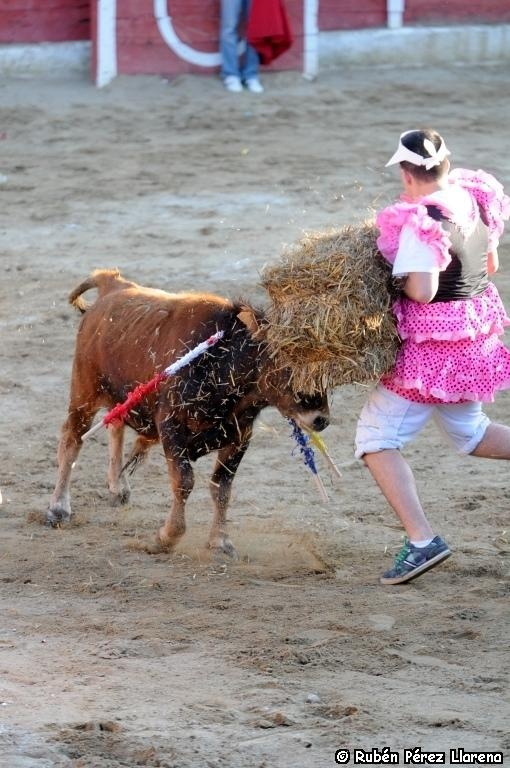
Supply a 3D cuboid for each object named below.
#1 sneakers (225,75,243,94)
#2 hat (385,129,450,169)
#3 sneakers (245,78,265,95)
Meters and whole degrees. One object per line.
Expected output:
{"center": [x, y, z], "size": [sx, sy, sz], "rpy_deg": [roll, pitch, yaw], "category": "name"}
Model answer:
{"center": [-0.236, -3.247, 11.835], "size": [0.158, 0.091, 0.222], "rpy_deg": [-10, 35, -14], "category": "sneakers"}
{"center": [0.582, -0.838, 3.908], "size": [0.194, 0.161, 0.251], "rpy_deg": [2, 7, 4], "category": "hat"}
{"center": [-0.012, -3.261, 11.977], "size": [0.130, 0.088, 0.230], "rpy_deg": [-23, 43, -22], "category": "sneakers"}
